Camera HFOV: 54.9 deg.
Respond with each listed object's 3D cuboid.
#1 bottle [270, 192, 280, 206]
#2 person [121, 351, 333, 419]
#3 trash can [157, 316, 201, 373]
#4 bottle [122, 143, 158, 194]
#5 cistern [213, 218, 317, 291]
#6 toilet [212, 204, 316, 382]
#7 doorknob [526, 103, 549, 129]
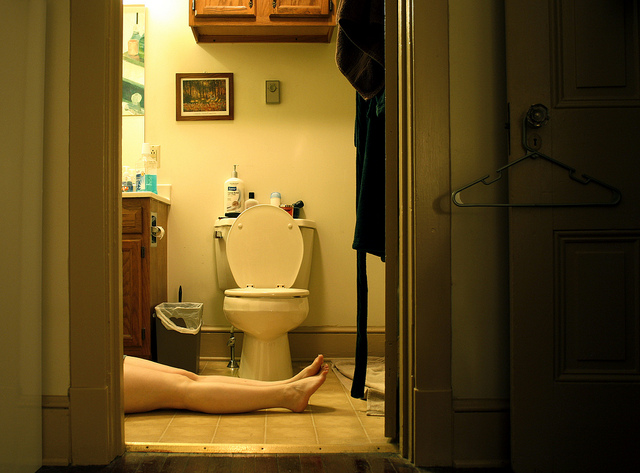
[{"bbox_3d":[-0.242,-0.211,3.428,0.053,0.100,0.057,0,3,0],"label":"bottle"},{"bbox_3d":[-0.413,0.653,2.676,1.069,0.324,0.282,2,0,-4],"label":"person"},{"bbox_3d":[-0.697,0.527,3.088,0.227,0.390,0.240,1,-2,-1],"label":"trash can"},{"bbox_3d":[-0.981,-0.374,3.341,0.182,0.284,0.258,2,0,-3],"label":"bottle"},{"bbox_3d":[-0.203,0.123,3.473,0.371,0.378,0.474,-8,1,10],"label":"cistern"},{"bbox_3d":[-0.272,0.257,3.137,0.536,0.869,0.636,2,0,-10],"label":"toilet"},{"bbox_3d":[0.768,-0.423,2.165,0.070,0.082,0.025,-7,3,5],"label":"doorknob"}]
